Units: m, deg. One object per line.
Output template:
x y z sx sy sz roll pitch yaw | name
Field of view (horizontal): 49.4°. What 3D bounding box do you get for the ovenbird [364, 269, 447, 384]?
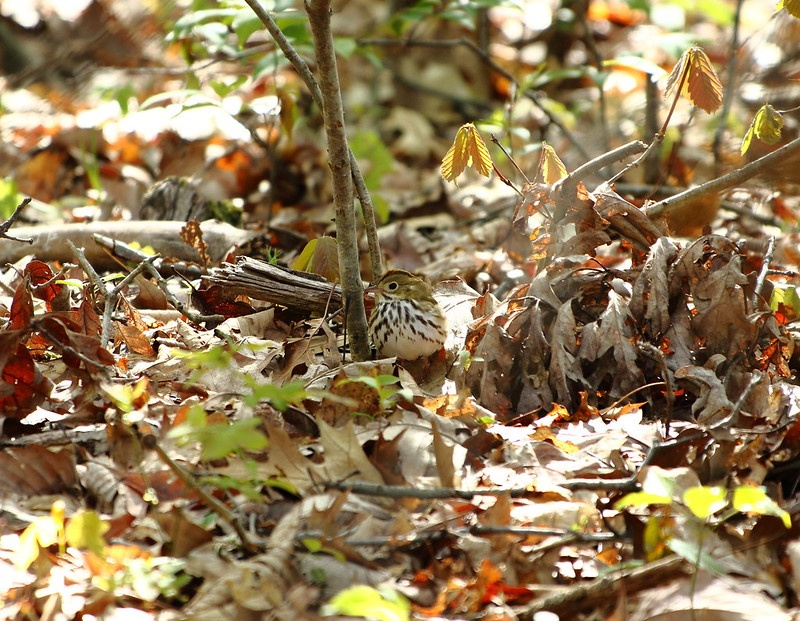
0.022 0.020 4.396 0.433 0.504 0.419 -5 90 19 | ovenbird
